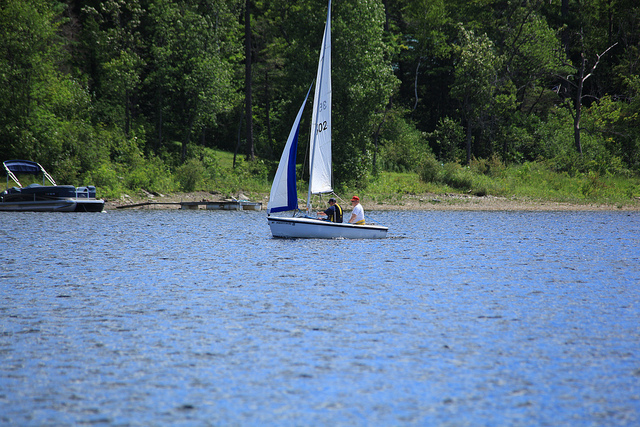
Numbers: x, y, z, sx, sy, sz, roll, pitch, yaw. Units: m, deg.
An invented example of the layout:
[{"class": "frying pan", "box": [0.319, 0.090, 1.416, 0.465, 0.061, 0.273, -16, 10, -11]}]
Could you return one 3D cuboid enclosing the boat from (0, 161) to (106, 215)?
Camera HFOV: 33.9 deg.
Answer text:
[{"class": "boat", "box": [-27.129, -2.461, 103.300, 8.648, 4.360, 5.500, 0, 0, 20]}]
